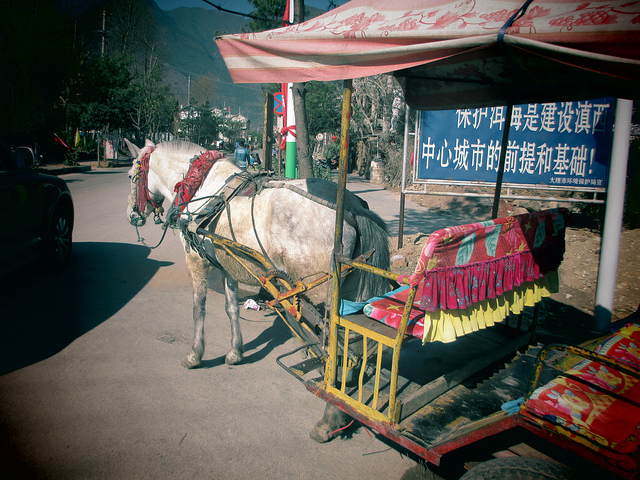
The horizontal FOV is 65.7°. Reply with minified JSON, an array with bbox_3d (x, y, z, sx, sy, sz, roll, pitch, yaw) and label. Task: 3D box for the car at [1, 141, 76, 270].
[{"bbox_3d":[-4.347,-0.531,7.720,0.934,1.122,2.091,-5,22,-31],"label":"car"}]
